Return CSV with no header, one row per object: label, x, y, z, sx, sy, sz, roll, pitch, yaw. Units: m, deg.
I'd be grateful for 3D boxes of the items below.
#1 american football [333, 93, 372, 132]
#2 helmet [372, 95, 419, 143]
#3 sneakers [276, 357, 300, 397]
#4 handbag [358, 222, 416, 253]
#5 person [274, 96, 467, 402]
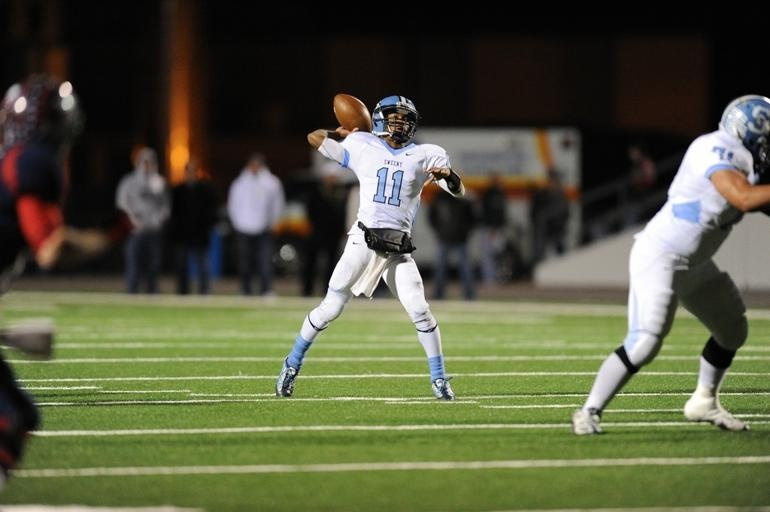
american football,-0.305,-1.371,10.035,0.347,0.317,0.521,-41,8,-2
helmet,0.103,-1.235,9.655,0.408,0.429,0.518,4,-3,-20
sneakers,-0.880,1.140,9.571,0.140,0.408,0.176,13,-15,-31
handbag,0.005,-0.143,9.523,0.481,0.191,0.540,7,9,1
person,-0.074,-0.024,9.596,1.517,2.739,0.872,0,14,2
